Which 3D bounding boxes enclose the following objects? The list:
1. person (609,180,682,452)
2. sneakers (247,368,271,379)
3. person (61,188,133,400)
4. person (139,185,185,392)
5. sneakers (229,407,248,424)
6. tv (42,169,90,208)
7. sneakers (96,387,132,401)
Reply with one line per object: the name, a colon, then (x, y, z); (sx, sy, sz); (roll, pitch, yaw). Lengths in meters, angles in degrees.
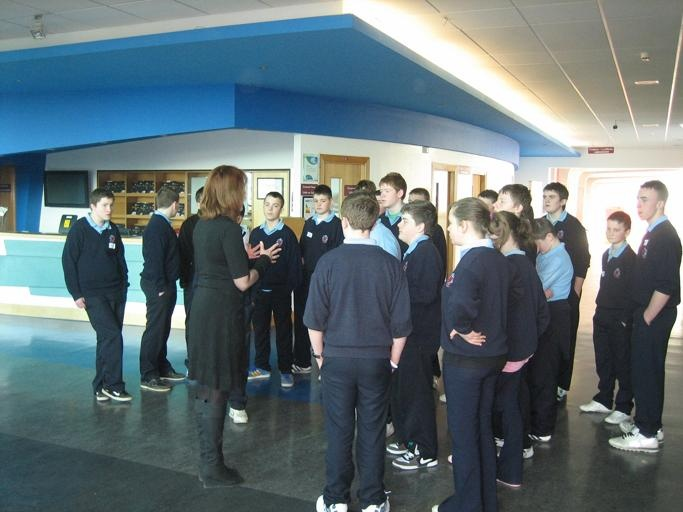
person: (2.647, 0.496, 5.171); (0.393, 2.256, 0.633); (6, 12, 25)
sneakers: (-0.914, 1.284, 6.611); (0.298, 0.128, 0.159); (15, -18, -41)
person: (-2.294, 0.369, 5.917); (0.649, 2.025, 0.518); (8, 13, 33)
person: (-1.883, 0.321, 6.201); (0.461, 2.021, 0.514); (0, 11, -5)
sneakers: (-0.941, 1.453, 5.553); (0.094, 0.088, 0.204); (2, -6, -29)
tv: (-5.342, -1.350, 11.827); (0.833, 0.592, 0.087); (2, 7, 18)
sneakers: (-2.224, 1.324, 5.953); (0.402, 0.160, 0.138); (2, -4, 7)
